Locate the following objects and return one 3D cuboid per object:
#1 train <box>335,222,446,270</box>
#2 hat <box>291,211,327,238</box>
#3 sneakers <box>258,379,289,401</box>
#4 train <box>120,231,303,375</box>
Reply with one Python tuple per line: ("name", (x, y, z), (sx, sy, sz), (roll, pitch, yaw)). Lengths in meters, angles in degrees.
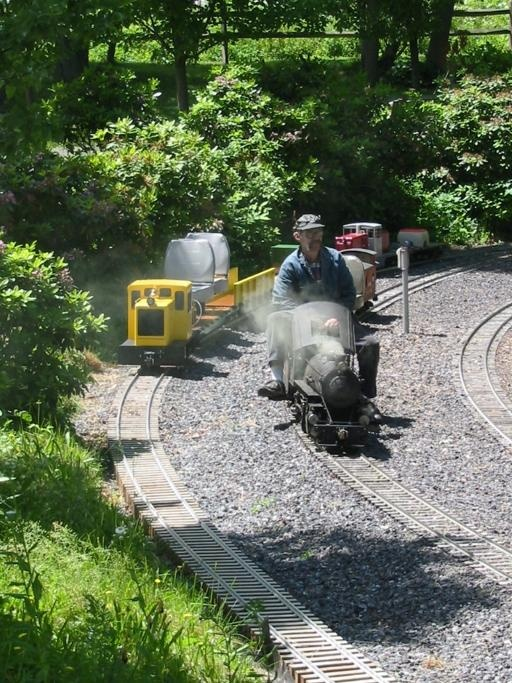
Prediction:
("train", (2.503, -1.925, 18.094), (1.044, 0.889, 3.728), (1, 7, 27))
("hat", (0.488, -1.085, 8.638), (0.228, 0.179, 0.464), (0, 9, -1))
("sneakers", (0.178, 0.501, 9.214), (0.242, 0.077, 0.220), (-6, 23, -12))
("train", (-0.625, -0.555, 11.712), (0.821, 1.053, 3.230), (2, 11, 13))
